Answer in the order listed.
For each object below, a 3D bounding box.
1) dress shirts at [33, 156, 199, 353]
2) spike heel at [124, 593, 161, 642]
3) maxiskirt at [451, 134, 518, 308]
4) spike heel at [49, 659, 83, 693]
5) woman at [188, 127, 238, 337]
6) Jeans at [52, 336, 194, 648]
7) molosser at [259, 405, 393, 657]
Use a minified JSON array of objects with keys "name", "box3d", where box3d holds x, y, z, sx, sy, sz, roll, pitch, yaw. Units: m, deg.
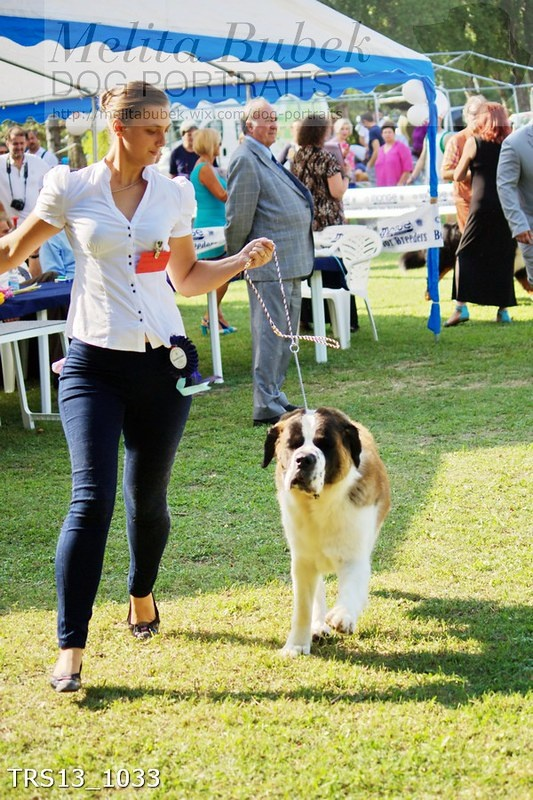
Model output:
[{"name":"dress shirts","box3d":[-0.513,-0.503,2.902,0.652,0.588,0.323,-3,18,-29]},{"name":"spike heel","box3d":[-0.495,0.882,3.409,0.079,0.056,0.210,-4,22,-3]},{"name":"maxiskirt","box3d":[2.567,-2.097,9.449,0.906,2.018,0.610,11,23,38]},{"name":"spike heel","box3d":[-0.623,0.879,2.685,0.056,0.027,0.107,1,24,3]},{"name":"woman","box3d":[-0.497,-1.945,9.730,0.801,2.296,0.713,-3,14,-6]},{"name":"Jeans","box3d":[-0.469,0.279,2.875,0.377,0.965,0.604,-3,7,9]},{"name":"molosser","box3d":[0.220,0.493,3.167,0.463,0.925,0.700,-3,7,7]}]
